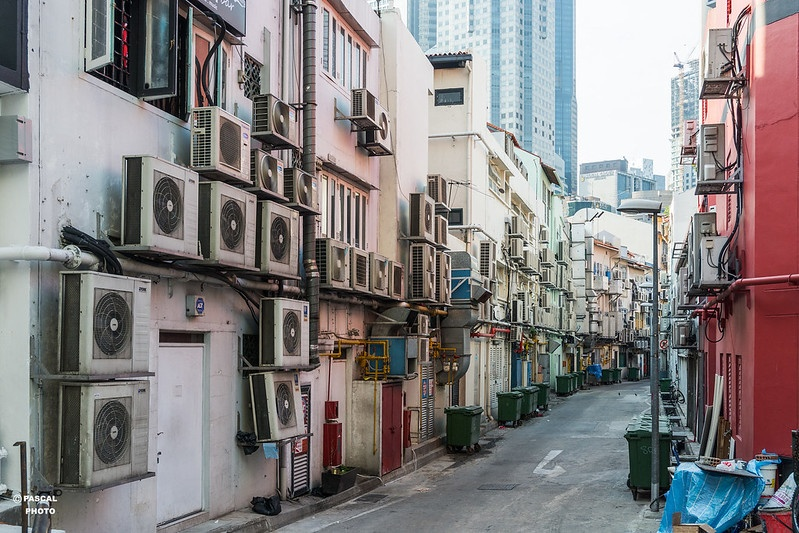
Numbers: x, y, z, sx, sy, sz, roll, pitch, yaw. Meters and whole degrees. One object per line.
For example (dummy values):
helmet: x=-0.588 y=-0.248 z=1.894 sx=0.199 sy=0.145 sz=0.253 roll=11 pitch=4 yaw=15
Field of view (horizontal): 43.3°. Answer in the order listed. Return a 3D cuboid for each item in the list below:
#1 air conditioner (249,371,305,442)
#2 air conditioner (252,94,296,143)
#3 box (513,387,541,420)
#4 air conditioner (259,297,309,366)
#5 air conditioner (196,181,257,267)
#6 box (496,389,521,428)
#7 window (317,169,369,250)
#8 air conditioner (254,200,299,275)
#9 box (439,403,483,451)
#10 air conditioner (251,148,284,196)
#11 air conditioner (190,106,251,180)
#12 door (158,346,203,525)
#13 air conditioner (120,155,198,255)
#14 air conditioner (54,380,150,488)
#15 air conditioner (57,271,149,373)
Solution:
air conditioner: x=-2.486 y=2.968 z=20.719 sx=0.497 sy=1.449 sz=1.434 roll=-9 pitch=-7 yaw=18
air conditioner: x=-2.575 y=-3.029 z=21.084 sx=0.437 sy=0.881 sz=1.357 roll=-3 pitch=-8 yaw=18
box: x=4.861 y=5.397 z=38.820 sx=0.924 sy=1.391 sz=1.698 roll=-1 pitch=-5 yaw=18
air conditioner: x=-2.348 y=1.476 z=20.930 sx=0.466 sy=1.433 sz=1.403 roll=-2 pitch=-6 yaw=20
air conditioner: x=-3.301 y=-0.740 z=19.239 sx=0.545 sy=1.509 sz=1.513 roll=-1 pitch=-6 yaw=21
box: x=3.986 y=5.253 z=36.849 sx=0.849 sy=1.433 sz=1.162 roll=2 pitch=10 yaw=14
window: x=-1.315 y=-1.247 z=25.411 sx=0.082 sy=2.225 sz=3.861 roll=-12 pitch=11 yaw=-17
air conditioner: x=-2.509 y=-0.536 z=20.363 sx=0.494 sy=1.345 sz=1.361 roll=-1 pitch=-8 yaw=17
box: x=1.840 y=4.970 z=29.978 sx=1.049 sy=1.672 sz=1.487 roll=0 pitch=-4 yaw=4
air conditioner: x=-2.735 y=-1.834 z=20.367 sx=0.359 sy=0.839 sz=1.104 roll=-5 pitch=-9 yaw=21
air conditioner: x=-3.350 y=-2.266 z=19.267 sx=0.509 sy=1.264 sz=1.413 roll=-4 pitch=-9 yaw=20
door: x=-4.100 y=3.213 z=18.964 sx=0.351 sy=3.294 sz=1.252 roll=-8 pitch=-8 yaw=26
air conditioner: x=-4.235 y=-1.017 z=17.555 sx=0.505 sy=1.566 sz=1.503 roll=-4 pitch=-10 yaw=24
air conditioner: x=-4.967 y=2.878 z=17.069 sx=0.652 sy=1.795 sz=1.756 roll=0 pitch=-3 yaw=19
air conditioner: x=-4.928 y=1.059 z=17.047 sx=0.595 sy=1.814 sz=1.724 roll=-1 pitch=-4 yaw=21
